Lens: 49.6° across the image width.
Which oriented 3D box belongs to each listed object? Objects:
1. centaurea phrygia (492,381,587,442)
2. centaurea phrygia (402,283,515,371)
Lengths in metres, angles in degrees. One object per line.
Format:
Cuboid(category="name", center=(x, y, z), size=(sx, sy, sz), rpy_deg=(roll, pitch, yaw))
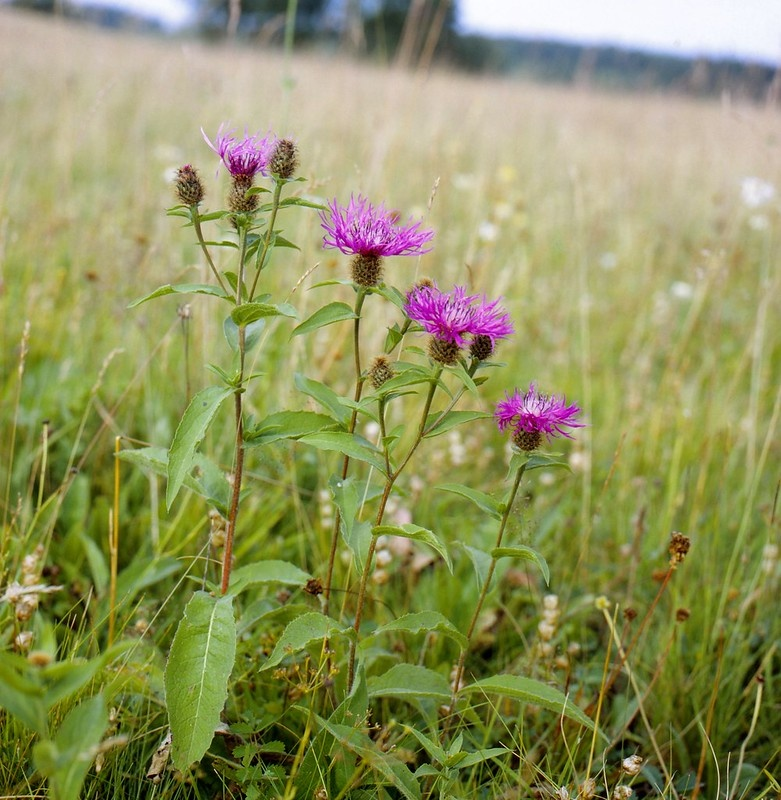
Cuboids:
Cuboid(category="centaurea phrygia", center=(0.441, 0.041, 2.474), size=(0.173, 0.108, 0.190), rpy_deg=(33, 14, 25))
Cuboid(category="centaurea phrygia", center=(0.234, -0.177, 2.410), size=(0.206, 0.159, 0.227), rpy_deg=(-7, -11, -8))
